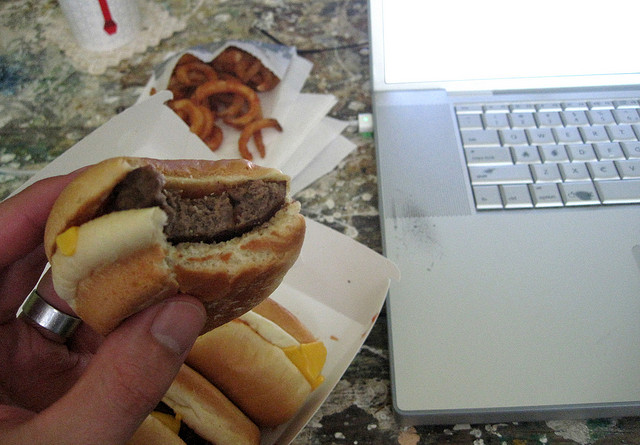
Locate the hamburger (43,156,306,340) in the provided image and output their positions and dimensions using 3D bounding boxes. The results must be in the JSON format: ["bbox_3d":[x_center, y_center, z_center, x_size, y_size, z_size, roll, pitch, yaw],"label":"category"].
[{"bbox_3d":[-0.338,0.006,1.169,0.536,0.492,0.351,-18,34,-35],"label":"hamburger"}]

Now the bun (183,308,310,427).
[{"bbox_3d":[-0.217,0.424,1.405,0.346,0.258,0.378,-11,20,-31],"label":"bun"}]
